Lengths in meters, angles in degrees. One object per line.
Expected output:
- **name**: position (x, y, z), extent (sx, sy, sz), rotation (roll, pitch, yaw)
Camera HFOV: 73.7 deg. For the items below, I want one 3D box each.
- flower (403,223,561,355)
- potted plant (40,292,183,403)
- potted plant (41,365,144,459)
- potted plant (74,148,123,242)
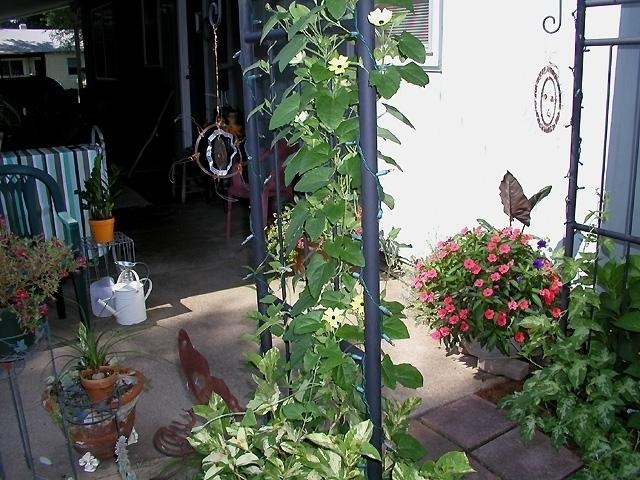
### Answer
- **flower**: position (1.205, 0.342, 3.447), extent (0.747, 0.570, 0.749), rotation (-4, 32, 34)
- **potted plant**: position (-1.659, 0.666, 3.564), extent (0.703, 0.278, 0.723), rotation (7, 20, 15)
- **potted plant**: position (-1.310, 1.116, 2.647), extent (0.517, 0.436, 0.553), rotation (-3, -10, 9)
- **potted plant**: position (-2.231, -0.391, 4.395), extent (0.368, 0.861, 0.398), rotation (-10, 1, 33)
